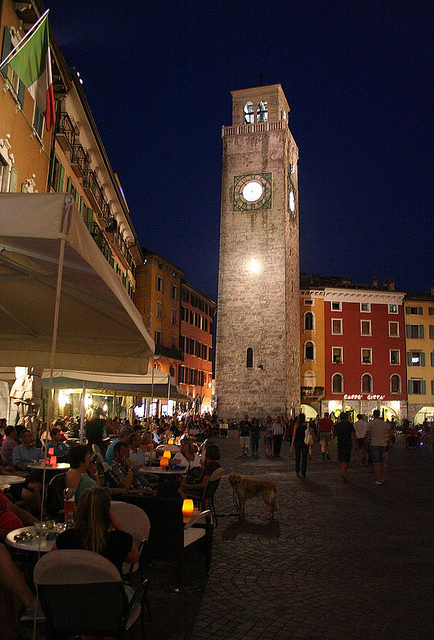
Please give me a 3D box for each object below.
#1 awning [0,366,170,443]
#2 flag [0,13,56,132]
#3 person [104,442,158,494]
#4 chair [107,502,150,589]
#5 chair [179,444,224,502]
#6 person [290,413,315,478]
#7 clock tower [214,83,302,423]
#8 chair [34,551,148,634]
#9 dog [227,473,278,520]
[{"bbox_3d":[-2.710,1.413,12.158,2.776,2.032,3.112,-1,-10,5],"label":"awning"},{"bbox_3d":[-3.443,-4.765,10.151,0.684,1.963,1.196,2,-11,-1],"label":"flag"},{"bbox_3d":[-1.025,1.839,6.562,0.617,0.632,1.906,3,-12,-6],"label":"person"},{"bbox_3d":[-0.664,1.699,3.919,0.296,0.506,0.331,12,-33,-4],"label":"chair"},{"bbox_3d":[-0.206,2.101,7.106,0.461,0.849,0.344,9,-8,9],"label":"chair"},{"bbox_3d":[2.166,3.243,13.746,0.453,1.634,0.438,-1,-16,18],"label":"person"},{"bbox_3d":[3.240,-5.931,40.017,6.187,26.636,4.199,4,-11,-11],"label":"clock tower"},{"bbox_3d":[-0.581,1.185,2.288,0.375,0.394,0.260,6,-12,-18],"label":"chair"},{"bbox_3d":[0.546,2.718,8.188,0.712,0.636,0.673,2,-11,1],"label":"dog"}]
